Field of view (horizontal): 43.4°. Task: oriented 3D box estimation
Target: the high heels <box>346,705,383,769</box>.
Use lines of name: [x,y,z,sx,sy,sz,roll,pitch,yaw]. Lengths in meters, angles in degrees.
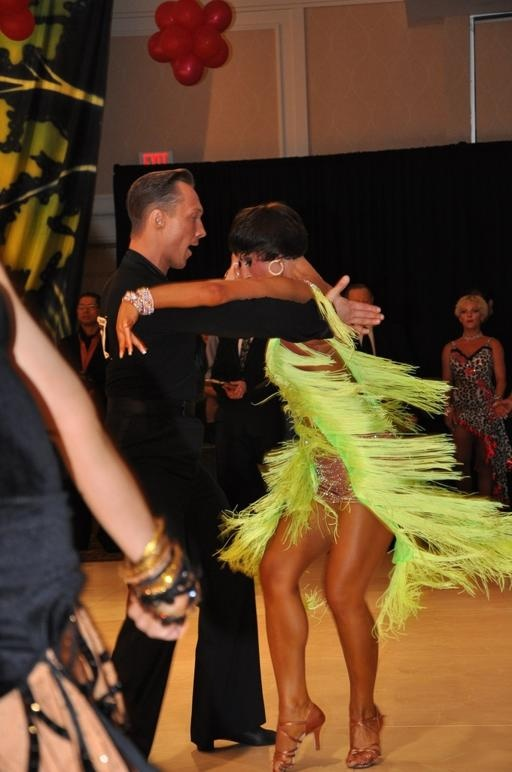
high heels: [0.344,1.099,2.004,0.090,0.214,0.093,-2,-5,31]
